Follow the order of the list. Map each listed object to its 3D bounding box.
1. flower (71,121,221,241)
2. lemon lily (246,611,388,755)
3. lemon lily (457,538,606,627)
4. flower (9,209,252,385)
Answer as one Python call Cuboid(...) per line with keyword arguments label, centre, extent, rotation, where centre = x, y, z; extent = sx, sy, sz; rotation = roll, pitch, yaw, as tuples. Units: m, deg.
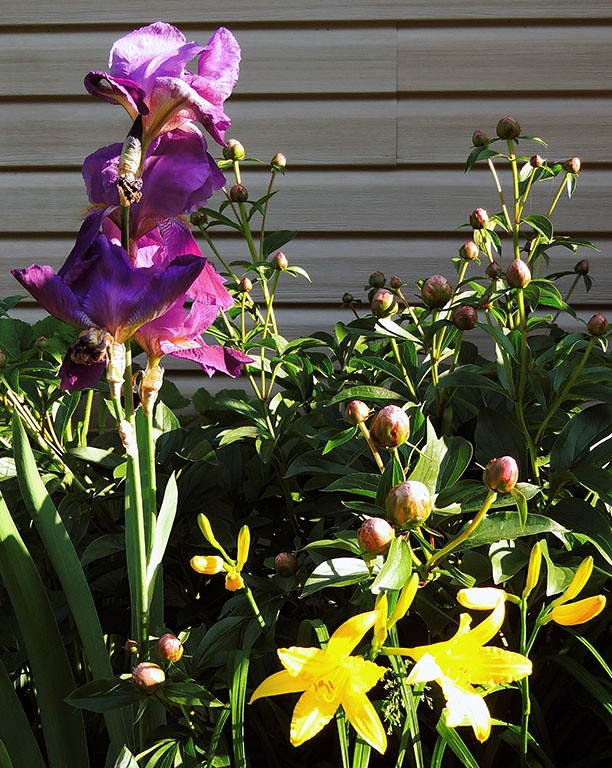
Cuboid(label="flower", centre=(-0.158, -0.175, 0.738), extent=(0.112, 0.078, 0.126), rotation=(28, 23, 18))
Cuboid(label="lemon lily", centre=(0.015, 0.275, 0.735), extent=(0.131, 0.133, 0.052), rotation=(31, 2, 3))
Cuboid(label="lemon lily", centre=(0.199, 0.193, 0.700), extent=(0.103, 0.050, 0.112), rotation=(-3, 16, -24))
Cuboid(label="flower", centre=(-0.154, -0.078, 0.736), extent=(0.238, 0.166, 0.123), rotation=(-1, 3, -26))
